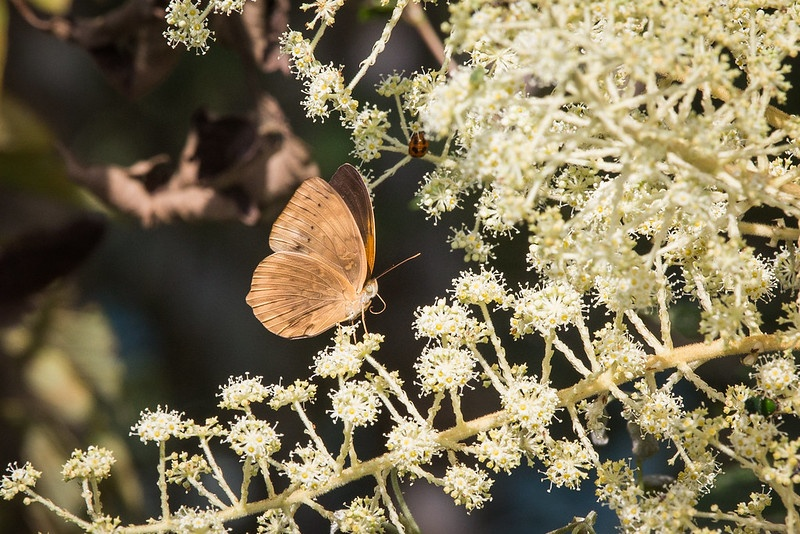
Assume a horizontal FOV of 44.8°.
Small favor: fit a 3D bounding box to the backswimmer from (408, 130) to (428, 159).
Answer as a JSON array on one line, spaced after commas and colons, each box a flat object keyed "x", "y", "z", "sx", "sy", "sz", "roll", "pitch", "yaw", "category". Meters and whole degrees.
[{"x": 0.125, "y": -0.875, "z": 6.961, "sx": 0.133, "sy": 0.178, "sz": 0.050, "roll": 1, "pitch": 8, "yaw": -11, "category": "backswimmer"}]
